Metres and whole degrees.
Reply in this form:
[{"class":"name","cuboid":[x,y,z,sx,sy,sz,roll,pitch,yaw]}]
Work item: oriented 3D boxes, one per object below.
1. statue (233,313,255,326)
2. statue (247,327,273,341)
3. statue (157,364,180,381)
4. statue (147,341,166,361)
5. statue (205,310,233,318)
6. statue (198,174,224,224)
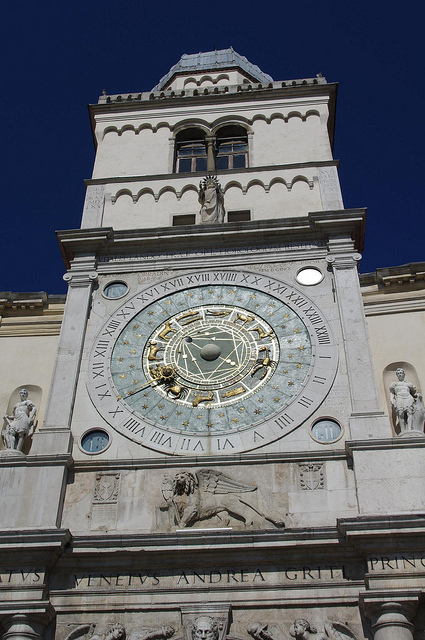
[{"class":"statue","cuboid":[0.793,-0.005,21.223,0.380,0.276,0.073,15,-54,26]},{"class":"statue","cuboid":[1.232,0.330,20.728,0.456,0.274,0.084,-5,-51,-7]},{"class":"statue","cuboid":[-1.088,1.218,19.820,0.309,0.296,0.101,25,-39,18]},{"class":"statue","cuboid":[-1.433,0.745,20.617,0.622,0.617,0.212,1,-57,5]},{"class":"statue","cuboid":[0.162,-0.188,21.507,0.555,0.200,0.191,-4,-71,6]},{"class":"statue","cuboid":[-0.012,-3.574,25.044,0.793,1.769,0.543,-2,-24,1]}]
